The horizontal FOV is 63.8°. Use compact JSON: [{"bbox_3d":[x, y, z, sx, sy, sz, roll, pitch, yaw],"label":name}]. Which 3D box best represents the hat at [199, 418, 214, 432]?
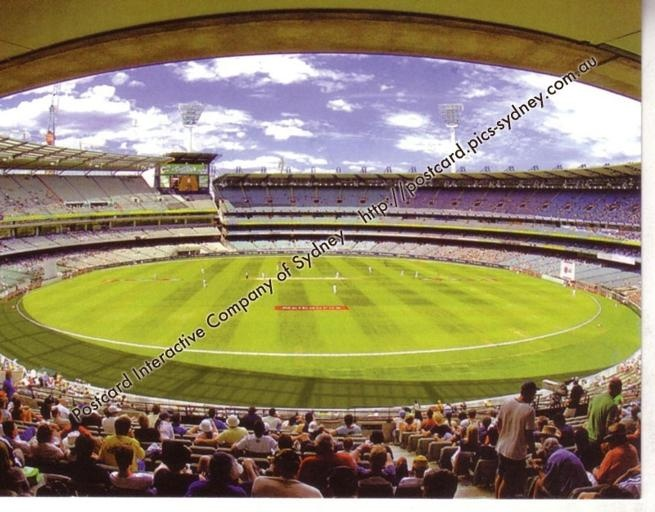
[{"bbox_3d":[-2.315,3.300,10.157,0.268,0.287,0.353,-1,8,-13],"label":"hat"}]

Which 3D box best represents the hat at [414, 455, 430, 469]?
[{"bbox_3d":[1.490,3.227,8.298,0.234,0.181,0.265,4,-8,-1],"label":"hat"}]

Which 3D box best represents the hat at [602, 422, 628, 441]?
[{"bbox_3d":[4.410,2.722,8.098,0.396,0.113,0.301,-5,-10,-11],"label":"hat"}]

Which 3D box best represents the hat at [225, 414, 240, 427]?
[{"bbox_3d":[-1.709,3.021,9.577,0.176,0.233,0.202,1,8,-1],"label":"hat"}]

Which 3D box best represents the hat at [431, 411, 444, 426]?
[{"bbox_3d":[2.219,3.321,10.707,0.268,0.226,0.286,0,-15,9],"label":"hat"}]
